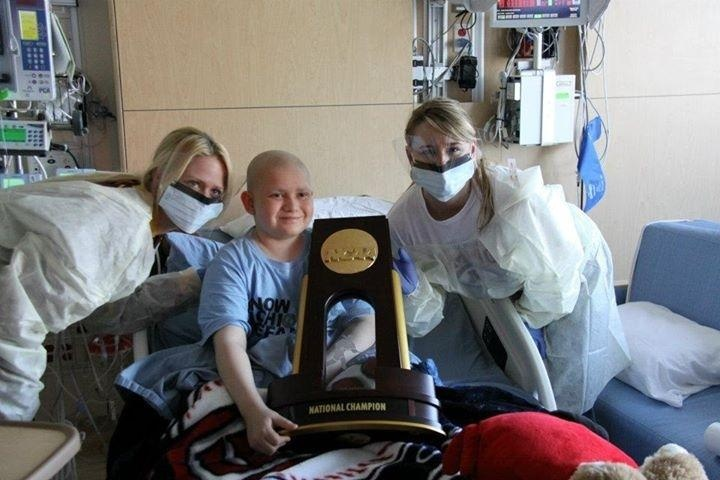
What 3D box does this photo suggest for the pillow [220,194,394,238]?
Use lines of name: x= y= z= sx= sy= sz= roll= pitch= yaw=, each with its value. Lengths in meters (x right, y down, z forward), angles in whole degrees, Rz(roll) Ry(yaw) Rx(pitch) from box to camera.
pillow: x=-0.176 y=-0.163 z=2.978 sx=0.468 sy=0.119 sz=0.433 roll=-14 pitch=23 yaw=-17

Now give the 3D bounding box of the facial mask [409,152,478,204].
facial mask: x=0.376 y=-0.286 z=2.426 sx=0.291 sy=0.199 sz=0.144 roll=1 pitch=15 yaw=8

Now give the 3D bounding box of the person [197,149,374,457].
person: x=-0.054 y=0.125 z=2.079 sx=0.775 sy=1.117 sz=0.930 roll=-2 pitch=6 yaw=-21

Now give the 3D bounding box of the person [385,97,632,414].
person: x=0.698 y=0.055 z=2.515 sx=1.096 sy=1.403 sz=0.577 roll=-1 pitch=14 yaw=-2
